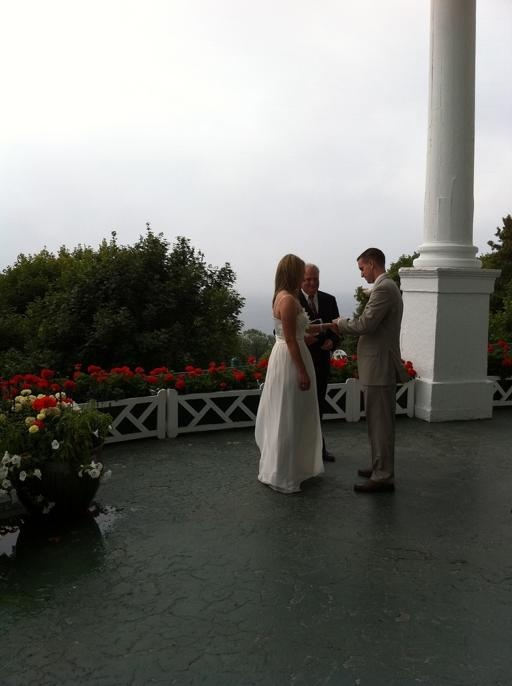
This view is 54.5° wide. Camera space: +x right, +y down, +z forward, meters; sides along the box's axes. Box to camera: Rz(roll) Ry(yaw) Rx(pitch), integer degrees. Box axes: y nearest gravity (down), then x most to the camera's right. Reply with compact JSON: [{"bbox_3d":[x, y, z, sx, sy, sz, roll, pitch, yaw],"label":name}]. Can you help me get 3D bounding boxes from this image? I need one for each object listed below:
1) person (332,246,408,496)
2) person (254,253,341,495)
[{"bbox_3d":[1.103,0.256,4.603,0.502,2.264,0.373,0,2,14],"label":"person"},{"bbox_3d":[0.300,0.283,4.760,0.626,2.197,0.577,0,2,17],"label":"person"}]
